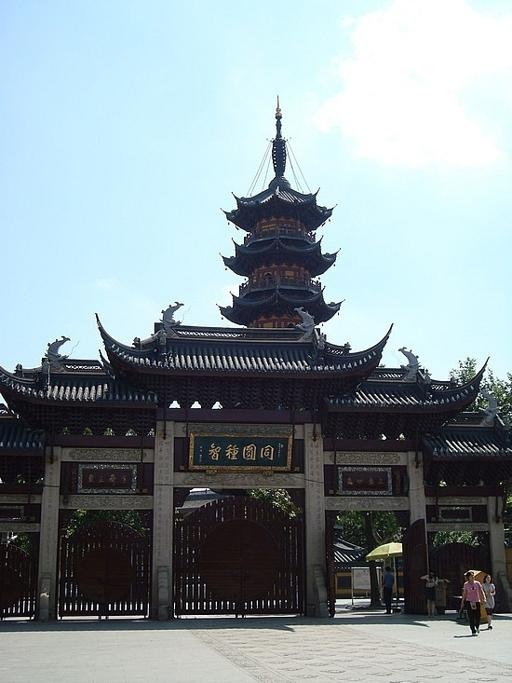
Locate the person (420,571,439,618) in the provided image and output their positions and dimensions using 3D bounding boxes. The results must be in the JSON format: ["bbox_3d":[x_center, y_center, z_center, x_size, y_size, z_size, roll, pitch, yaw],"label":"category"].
[{"bbox_3d":[4.238,6.174,17.926,0.361,0.997,1.261,-6,-17,12],"label":"person"}]
